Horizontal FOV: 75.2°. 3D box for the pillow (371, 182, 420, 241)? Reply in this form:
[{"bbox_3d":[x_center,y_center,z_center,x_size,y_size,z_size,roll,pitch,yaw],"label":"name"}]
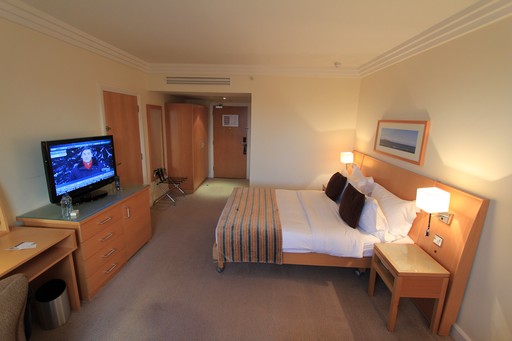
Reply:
[{"bbox_3d":[1.832,0.555,4.851,0.504,0.456,1.078,-8,14,-5],"label":"pillow"}]

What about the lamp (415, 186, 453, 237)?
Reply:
[{"bbox_3d":[2.145,0.552,4.010,0.361,0.488,0.365,18,-3,8],"label":"lamp"}]

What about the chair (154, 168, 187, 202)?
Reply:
[{"bbox_3d":[-1.809,0.311,7.035,0.538,0.672,0.840,4,8,-5],"label":"chair"}]

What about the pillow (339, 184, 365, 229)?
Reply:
[{"bbox_3d":[1.412,0.551,4.929,0.277,0.574,0.766,-4,12,-3],"label":"pillow"}]

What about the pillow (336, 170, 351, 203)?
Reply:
[{"bbox_3d":[1.383,0.273,5.273,0.144,0.395,0.391,21,-3,0],"label":"pillow"}]

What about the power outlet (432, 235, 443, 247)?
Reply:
[{"bbox_3d":[2.223,0.859,4.054,0.049,0.144,0.151,-5,4,-15],"label":"power outlet"}]

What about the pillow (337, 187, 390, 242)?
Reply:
[{"bbox_3d":[1.610,0.666,4.602,0.461,0.404,1.007,26,-4,-8],"label":"pillow"}]

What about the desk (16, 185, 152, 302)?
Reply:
[{"bbox_3d":[-2.288,0.875,4.869,0.840,1.115,1.636,6,17,11],"label":"desk"}]

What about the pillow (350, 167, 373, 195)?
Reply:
[{"bbox_3d":[1.677,0.180,5.269,0.127,0.362,0.415,-13,14,-11],"label":"pillow"}]

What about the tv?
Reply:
[{"bbox_3d":[-2.385,0.008,4.410,0.287,0.754,0.873,3,11,14],"label":"tv"}]

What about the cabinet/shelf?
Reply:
[{"bbox_3d":[-1.645,-0.618,8.168,0.638,1.924,1.934,0,7,1],"label":"cabinet/shelf"}]
